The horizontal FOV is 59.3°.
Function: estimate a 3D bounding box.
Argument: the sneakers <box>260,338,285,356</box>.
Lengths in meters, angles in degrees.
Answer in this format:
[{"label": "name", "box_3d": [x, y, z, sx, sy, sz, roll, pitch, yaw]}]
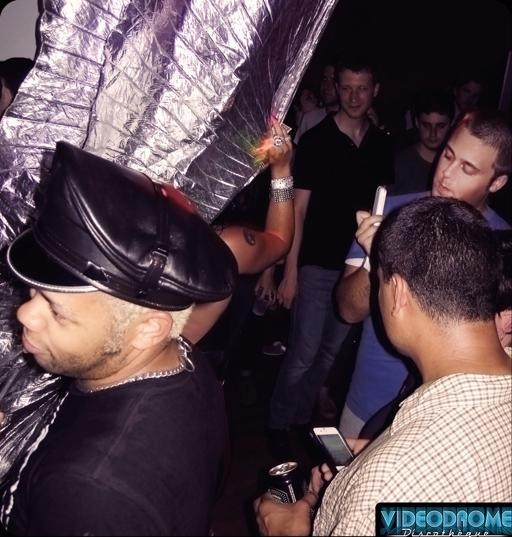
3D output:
[{"label": "sneakers", "box_3d": [0.155, 0.706, 3.968, 0.211, 0.086, 0.126, -11, 53, -27]}]

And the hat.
[{"label": "hat", "box_3d": [-0.295, -0.053, 1.062, 0.442, 0.220, 0.341, 14, 40, -32]}]

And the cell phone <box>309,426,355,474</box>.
[{"label": "cell phone", "box_3d": [0.272, 0.626, 1.522, 0.109, 0.022, 0.210, 7, 23, -23]}]
